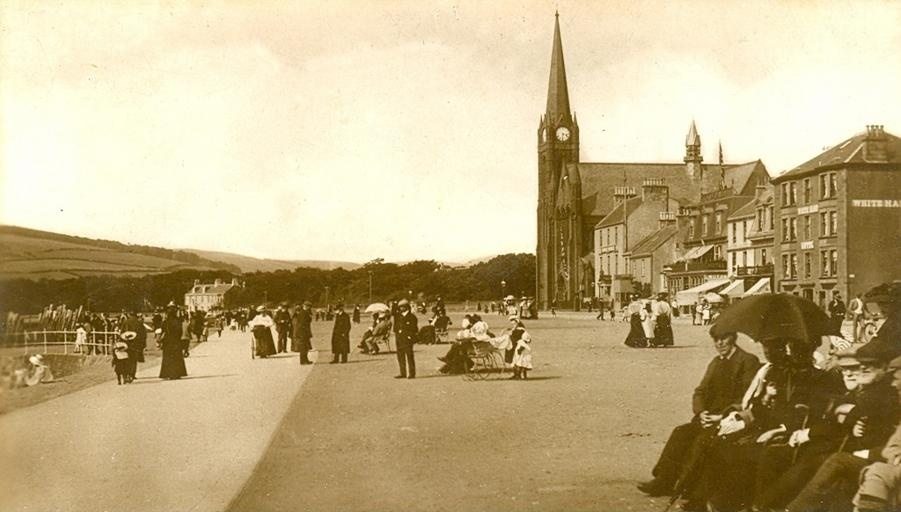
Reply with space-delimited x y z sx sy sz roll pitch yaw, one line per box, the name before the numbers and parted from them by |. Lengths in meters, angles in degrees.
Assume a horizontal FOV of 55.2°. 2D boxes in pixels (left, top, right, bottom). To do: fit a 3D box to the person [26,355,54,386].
person | -18.500 5.207 38.786 0.867 1.196 1.164 -12 -3 31
